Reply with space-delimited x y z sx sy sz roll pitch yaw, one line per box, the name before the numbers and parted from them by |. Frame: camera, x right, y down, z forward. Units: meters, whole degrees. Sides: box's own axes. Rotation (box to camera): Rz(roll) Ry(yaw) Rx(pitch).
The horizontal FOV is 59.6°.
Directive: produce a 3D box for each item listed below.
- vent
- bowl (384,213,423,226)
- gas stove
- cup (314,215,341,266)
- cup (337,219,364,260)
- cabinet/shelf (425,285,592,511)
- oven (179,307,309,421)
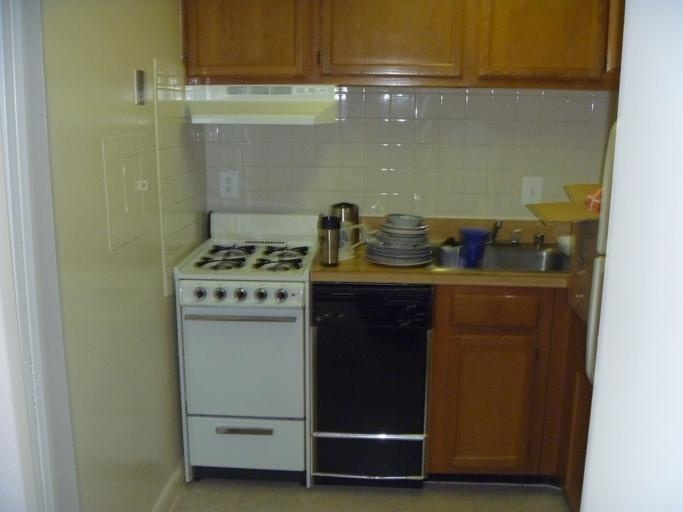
vent | -0.345 -0.638 2.513 0.635 0.164 0.304 0 13 -6
bowl | 0.267 -0.154 2.585 0.153 0.047 0.088 2 13 7
gas stove | -0.388 0.000 2.602 0.508 0.031 0.545 0 13 -4
cup | -0.051 -0.068 2.460 0.096 0.195 0.131 0 12 -2
cup | 0.029 -0.058 2.561 0.151 0.153 0.096 1 4 19
cabinet/shelf | 0.567 0.497 2.841 0.773 1.201 0.861 1 8 4
oven | -0.328 0.374 2.579 0.603 0.636 0.420 0 5 3
